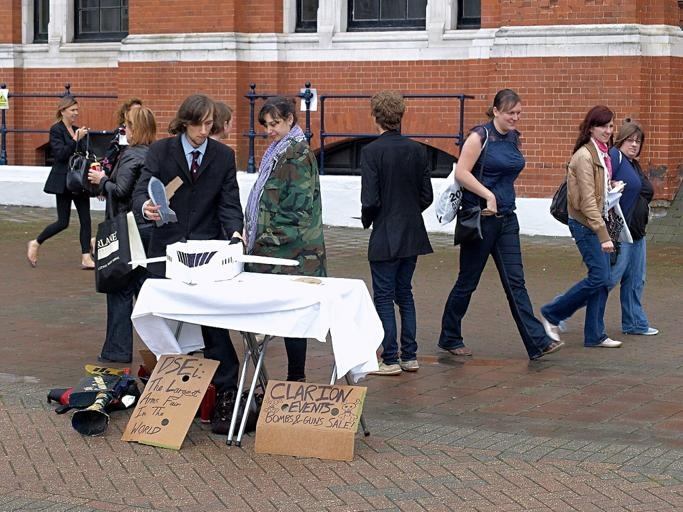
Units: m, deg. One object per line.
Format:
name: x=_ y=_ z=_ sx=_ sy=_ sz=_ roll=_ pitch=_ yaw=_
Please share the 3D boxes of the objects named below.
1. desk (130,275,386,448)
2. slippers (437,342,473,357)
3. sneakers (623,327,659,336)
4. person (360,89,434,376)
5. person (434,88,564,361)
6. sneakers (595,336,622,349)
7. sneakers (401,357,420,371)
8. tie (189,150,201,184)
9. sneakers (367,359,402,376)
desk: x=-0.521 y=0.561 z=6.768 sx=1.593 sy=0.822 sz=0.567 roll=3 pitch=12 yaw=18
slippers: x=1.012 y=0.831 z=8.874 sx=0.304 sy=0.095 sz=0.107 roll=-1 pitch=1 yaw=30
sneakers: x=2.798 y=0.713 z=9.473 sx=0.327 sy=0.114 sz=0.103 roll=2 pitch=0 yaw=11
person: x=0.458 y=-0.186 z=8.250 sx=0.574 sy=2.261 sz=0.714 roll=0 pitch=12 yaw=1
person: x=1.321 y=-0.258 z=8.620 sx=0.950 sy=2.282 sz=0.509 roll=1 pitch=12 yaw=4
sneakers: x=2.398 y=0.791 z=9.048 sx=0.250 sy=0.083 sz=0.086 roll=0 pitch=2 yaw=16
sneakers: x=0.560 y=0.896 z=8.304 sx=0.074 sy=0.072 sz=0.175 roll=-7 pitch=10 yaw=-29
tie: x=-1.046 y=-0.656 z=7.308 sx=0.069 sy=0.210 sz=0.053 roll=1 pitch=12 yaw=9
sneakers: x=0.306 y=0.917 z=8.165 sx=0.382 sy=0.133 sz=0.147 roll=1 pitch=0 yaw=8
